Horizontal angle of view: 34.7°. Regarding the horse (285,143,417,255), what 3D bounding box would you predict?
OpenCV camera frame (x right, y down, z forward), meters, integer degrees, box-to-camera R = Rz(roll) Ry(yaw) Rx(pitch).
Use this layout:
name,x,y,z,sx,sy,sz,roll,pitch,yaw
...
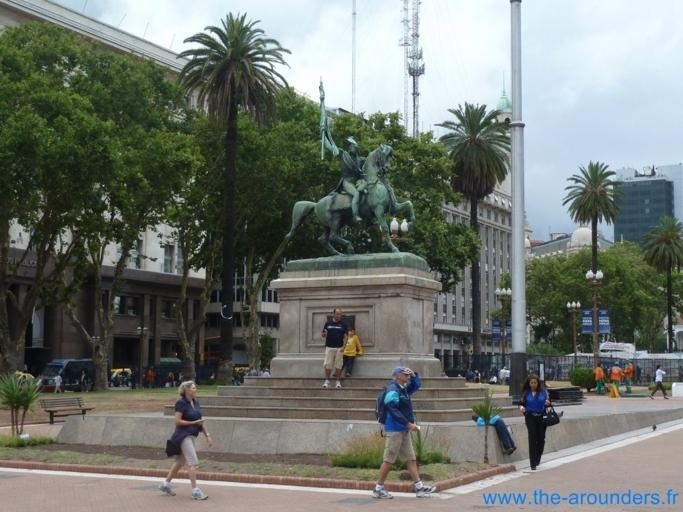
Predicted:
name,x,y,z,sx,sy,sz,roll,pitch,yaw
horse,0.329,-1.879,40.264,4.554,4.691,1.493,-4,-21,3

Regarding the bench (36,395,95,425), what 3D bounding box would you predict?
name,x,y,z,sx,sy,sz,roll,pitch,yaw
bench,-10.645,5.864,41.839,1.670,1.204,4.489,4,-13,-16

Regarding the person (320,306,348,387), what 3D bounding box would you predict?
name,x,y,z,sx,sy,sz,roll,pitch,yaw
person,-0.228,3.184,37.634,0.671,2.969,0.666,-6,-7,31

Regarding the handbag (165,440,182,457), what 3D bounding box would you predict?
name,x,y,z,sx,sy,sz,roll,pitch,yaw
handbag,-4.665,5.344,30.379,0.375,0.498,0.449,-3,-2,10

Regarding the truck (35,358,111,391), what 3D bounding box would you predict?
name,x,y,z,sx,sy,sz,roll,pitch,yaw
truck,-16.360,7.105,65.489,3.368,1.912,2.386,-8,-9,35

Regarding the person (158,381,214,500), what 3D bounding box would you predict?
name,x,y,z,sx,sy,sz,roll,pitch,yaw
person,-4.216,5.138,30.665,1.383,3.179,1.025,-1,-3,22

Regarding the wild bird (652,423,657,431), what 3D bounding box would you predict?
name,x,y,z,sx,sy,sz,roll,pitch,yaw
wild bird,12.141,6.649,42.355,0.255,0.331,0.112,3,4,29
